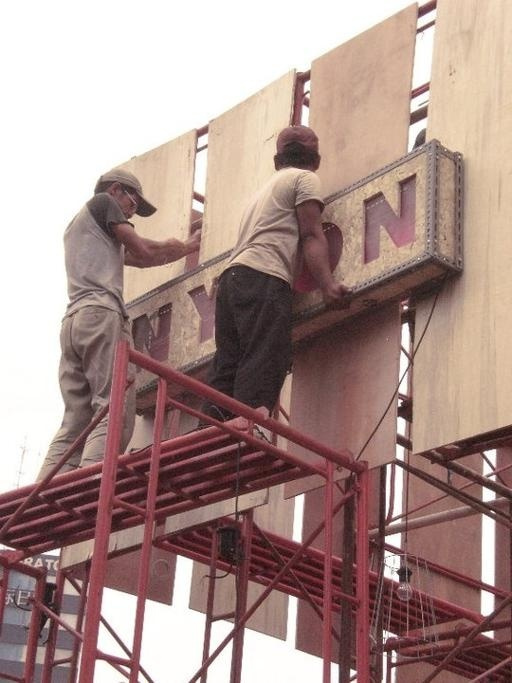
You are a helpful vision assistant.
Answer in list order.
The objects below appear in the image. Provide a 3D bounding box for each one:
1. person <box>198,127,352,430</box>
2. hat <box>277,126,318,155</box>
[{"bbox_3d":[0.131,-0.350,7.457,0.882,2.057,0.655,3,-25,9],"label":"person"},{"bbox_3d":[0.312,-1.528,8.154,0.216,0.191,0.220,-5,-10,45],"label":"hat"}]
